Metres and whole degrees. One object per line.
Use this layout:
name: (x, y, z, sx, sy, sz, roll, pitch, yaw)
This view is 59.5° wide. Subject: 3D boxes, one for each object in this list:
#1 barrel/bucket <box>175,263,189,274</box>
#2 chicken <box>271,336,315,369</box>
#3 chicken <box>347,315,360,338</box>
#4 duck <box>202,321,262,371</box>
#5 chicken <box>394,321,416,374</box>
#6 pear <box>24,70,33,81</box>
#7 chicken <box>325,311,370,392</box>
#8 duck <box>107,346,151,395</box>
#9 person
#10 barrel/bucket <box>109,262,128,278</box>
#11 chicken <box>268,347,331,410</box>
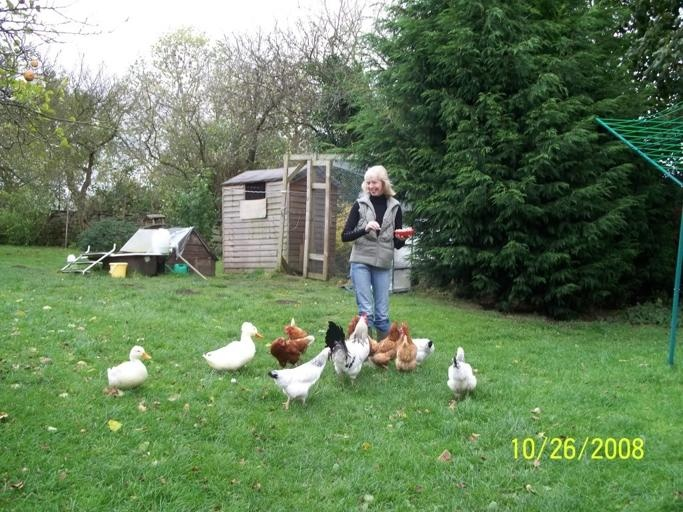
barrel/bucket: (-4.874, 0.388, 18.215, 0.285, 0.255, 0.314, -1, 0, 4)
chicken: (-0.792, 1.506, 9.876, 0.294, 0.476, 0.849, 18, 11, 39)
chicken: (0.207, 1.225, 10.559, 0.141, 0.495, 0.237, 17, 7, 27)
duck: (-1.706, 1.469, 9.495, 0.914, 0.664, 0.397, -2, 5, -40)
chicken: (1.097, 1.495, 9.901, 0.425, 0.810, 0.350, 0, 4, -21)
pear: (-4.037, -2.342, 7.720, 0.115, 0.139, 0.322, 0, 4, -28)
chicken: (0.120, 1.486, 9.435, 0.483, 1.013, 1.018, 2, 4, 18)
duck: (-3.073, 1.632, 8.641, 0.549, 0.584, 0.496, 0, 4, -24)
person: (0.589, 0.001, 10.099, 0.923, 2.880, 0.823, 0, 0, 42)
barrel/bucket: (-6.341, 0.394, 17.040, 0.454, 0.387, 0.725, 0, 4, -22)
chicken: (-0.603, 1.777, 8.691, 0.945, 0.809, 0.316, 0, 4, -20)
